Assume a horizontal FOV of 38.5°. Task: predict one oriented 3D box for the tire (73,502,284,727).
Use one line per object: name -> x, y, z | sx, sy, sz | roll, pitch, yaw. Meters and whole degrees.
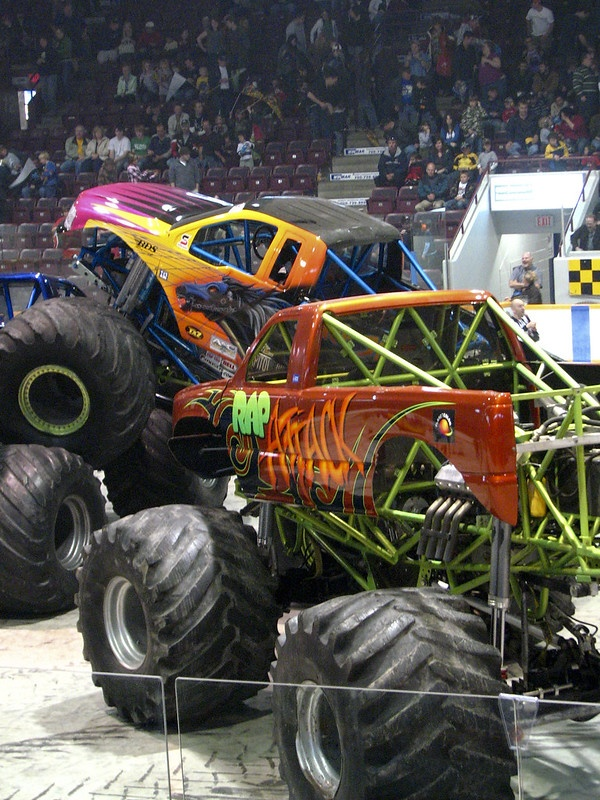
tire -> -0.593, 0.986, 3.969 | 0.546, 0.956, 0.957 | -2, -1, -34
